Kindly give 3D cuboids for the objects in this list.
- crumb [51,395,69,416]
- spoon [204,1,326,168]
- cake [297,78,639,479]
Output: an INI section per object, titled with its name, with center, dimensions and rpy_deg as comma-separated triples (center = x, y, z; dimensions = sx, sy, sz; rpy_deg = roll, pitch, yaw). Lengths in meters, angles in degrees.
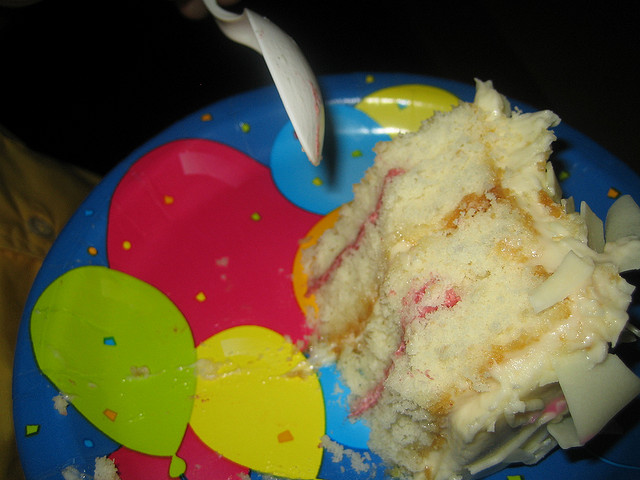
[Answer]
[crumb]
center = -0.539, 0.343, 1.411
dimensions = 0.042, 0.011, 0.028
rpy_deg = 29, 75, 17
[spoon]
center = -0.132, -0.414, 1.412
dimensions = 0.099, 0.124, 0.590
rpy_deg = -27, 55, 3
[cake]
center = 0.393, 0.093, 1.505
dimensions = 0.757, 0.226, 0.774
rpy_deg = -46, 51, 23
